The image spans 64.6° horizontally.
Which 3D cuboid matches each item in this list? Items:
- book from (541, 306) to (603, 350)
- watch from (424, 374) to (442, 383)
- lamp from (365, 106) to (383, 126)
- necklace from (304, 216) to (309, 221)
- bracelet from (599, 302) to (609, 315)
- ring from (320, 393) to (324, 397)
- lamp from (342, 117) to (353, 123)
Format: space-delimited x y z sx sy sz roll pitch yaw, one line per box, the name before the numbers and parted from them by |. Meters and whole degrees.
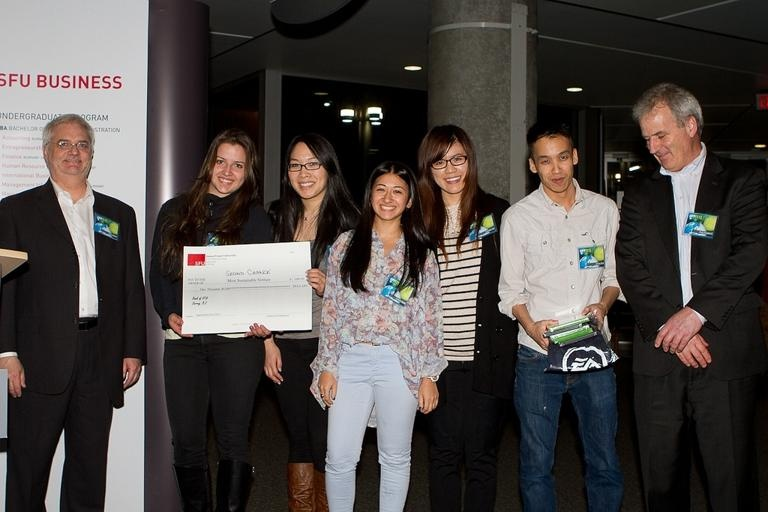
book | 1.082 0.413 3.486 0.300 0.200 0.176 1 3 15
watch | 0.284 0.708 3.506 0.072 0.029 0.052 1 -1 -9
lamp | -0.186 -2.352 10.247 0.315 0.309 0.306 -2 0 -5
necklace | -0.507 -0.240 3.911 0.027 0.028 0.010 -10 -16 15
bracelet | 1.297 0.306 3.558 0.050 0.060 0.068 -1 -16 4
ring | -0.359 0.800 3.486 0.026 0.027 0.010 0 -4 14
lamp | -0.618 -2.234 10.071 0.193 0.101 0.079 -1 3 -23
